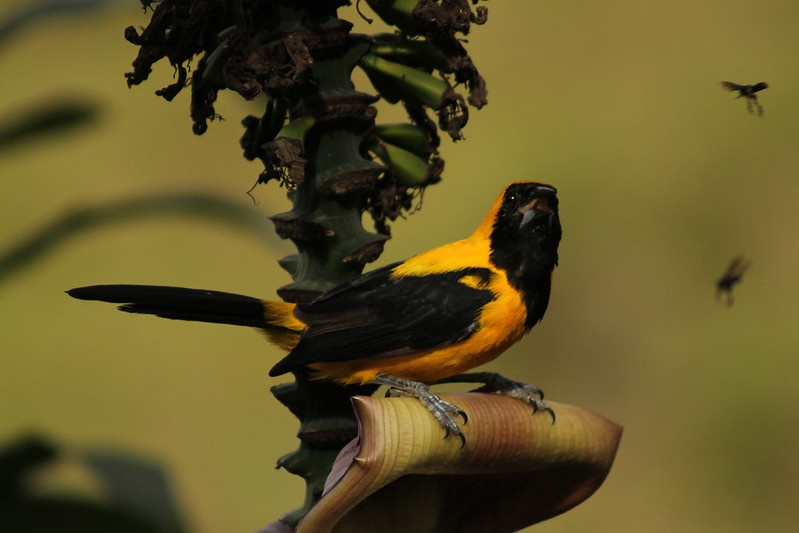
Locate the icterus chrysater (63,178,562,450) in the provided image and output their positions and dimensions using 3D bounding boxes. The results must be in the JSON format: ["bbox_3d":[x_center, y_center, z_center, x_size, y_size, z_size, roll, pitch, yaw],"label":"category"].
[{"bbox_3d":[-0.428,0.220,6.837,2.330,1.067,0.966,-1,-13,4],"label":"icterus chrysater"}]
